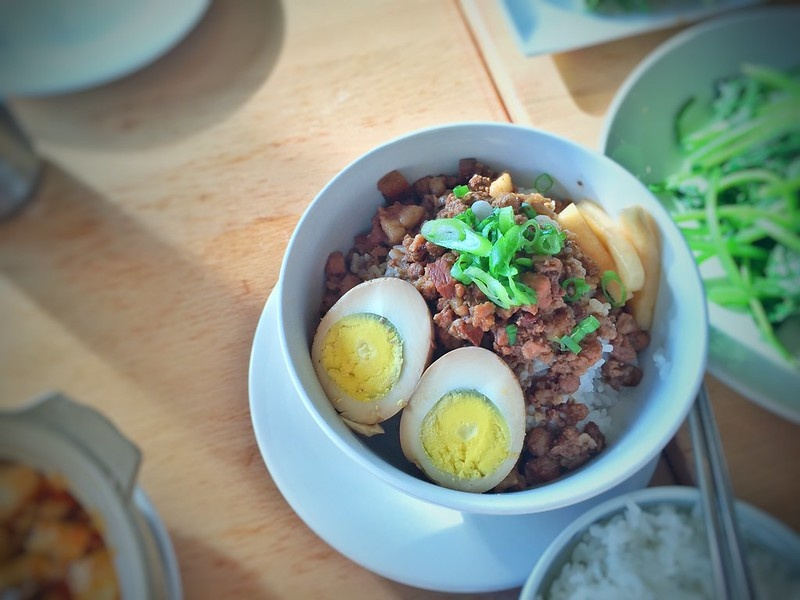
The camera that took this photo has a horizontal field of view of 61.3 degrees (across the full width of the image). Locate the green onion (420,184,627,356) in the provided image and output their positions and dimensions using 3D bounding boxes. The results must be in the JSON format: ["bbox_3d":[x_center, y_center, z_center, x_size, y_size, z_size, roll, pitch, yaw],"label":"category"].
[{"bbox_3d":[0.218,-0.100,1.309,0.314,0.121,0.352,-9,86,5],"label":"green onion"}]
